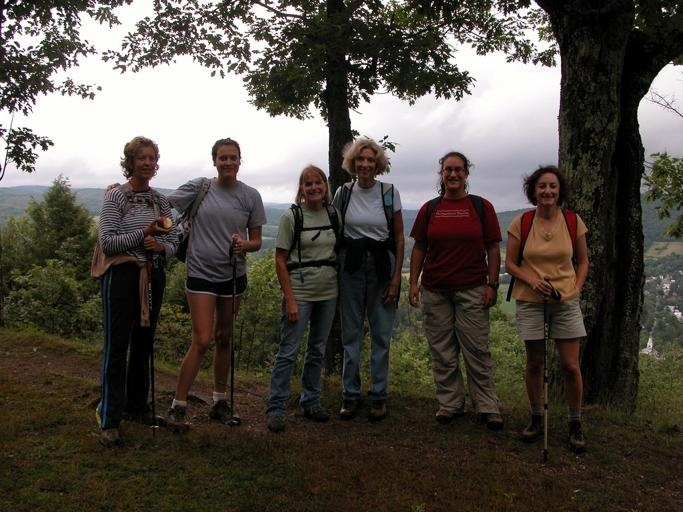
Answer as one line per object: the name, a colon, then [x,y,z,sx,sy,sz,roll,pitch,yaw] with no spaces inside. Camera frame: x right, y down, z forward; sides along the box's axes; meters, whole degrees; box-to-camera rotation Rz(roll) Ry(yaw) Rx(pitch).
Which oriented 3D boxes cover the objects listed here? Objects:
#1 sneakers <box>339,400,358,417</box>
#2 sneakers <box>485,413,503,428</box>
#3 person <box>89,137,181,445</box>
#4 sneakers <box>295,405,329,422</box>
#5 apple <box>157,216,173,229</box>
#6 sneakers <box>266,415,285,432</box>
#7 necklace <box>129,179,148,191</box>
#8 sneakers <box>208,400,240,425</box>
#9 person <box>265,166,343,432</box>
sneakers: [0.088,1.975,7.342,0.127,0.142,0.342,-4,-16,11]
sneakers: [1.887,2.019,7.018,0.209,0.099,0.292,-2,2,-28]
person: [-2.337,0.337,6.339,0.792,3.243,1.105,6,12,15]
sneakers: [-0.367,2.025,7.391,0.471,0.194,0.172,-9,-8,39]
apple: [-1.926,-0.379,6.297,0.126,0.130,0.131,-14,26,22]
sneakers: [-0.789,2.006,6.894,0.176,0.159,0.200,-1,12,-19]
necklace: [-2.259,-0.804,6.387,0.182,0.181,0.223,1,-6,-16]
sneakers: [-1.460,1.923,7.096,0.434,0.260,0.219,1,-1,28]
person: [-0.453,0.539,7.035,0.969,3.232,0.770,-2,13,-25]
